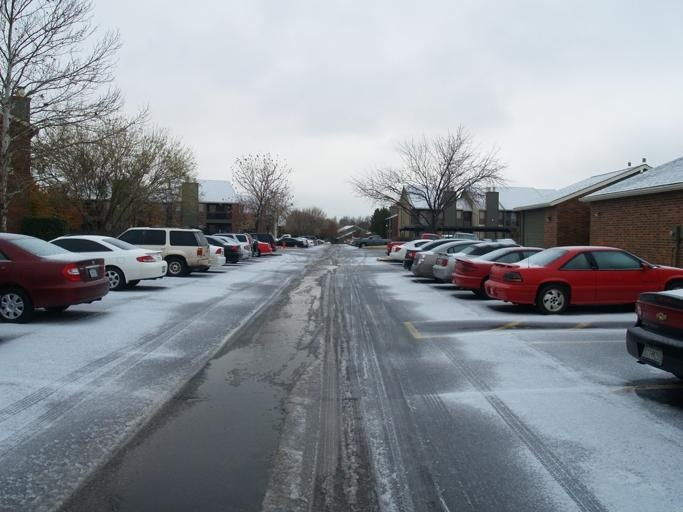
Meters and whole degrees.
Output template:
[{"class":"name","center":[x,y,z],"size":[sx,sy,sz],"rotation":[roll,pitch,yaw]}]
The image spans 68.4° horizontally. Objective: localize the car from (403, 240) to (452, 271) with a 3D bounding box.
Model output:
[{"class":"car","center":[4.120,-0.149,23.727],"size":[2.687,0.745,1.118],"rotation":[-2,3,-11]}]

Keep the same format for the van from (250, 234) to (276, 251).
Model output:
[{"class":"van","center":[-6.840,-1.363,43.835],"size":[2.232,0.891,1.128],"rotation":[2,1,-12]}]

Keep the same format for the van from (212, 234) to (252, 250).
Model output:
[{"class":"van","center":[-7.080,-0.951,33.033],"size":[2.549,0.841,1.086],"rotation":[-1,0,10]}]

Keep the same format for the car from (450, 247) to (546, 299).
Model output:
[{"class":"car","center":[4.644,0.341,14.378],"size":[2.926,0.806,1.122],"rotation":[-2,3,-11]}]

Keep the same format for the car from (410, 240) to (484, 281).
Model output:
[{"class":"car","center":[4.093,0.073,19.096],"size":[2.882,0.809,1.111],"rotation":[-3,2,-9]}]

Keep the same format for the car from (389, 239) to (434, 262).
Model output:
[{"class":"car","center":[4.109,-0.365,30.662],"size":[2.676,0.737,1.130],"rotation":[-3,4,-12]}]

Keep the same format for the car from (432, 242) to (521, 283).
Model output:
[{"class":"car","center":[4.827,0.184,16.821],"size":[3.066,0.791,1.302],"rotation":[-4,4,-13]}]

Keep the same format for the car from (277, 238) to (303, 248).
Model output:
[{"class":"car","center":[-7.365,-1.936,71.251],"size":[3.305,1.244,1.655],"rotation":[-6,9,-41]}]

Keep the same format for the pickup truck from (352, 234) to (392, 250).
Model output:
[{"class":"pickup truck","center":[4.041,-2.001,71.318],"size":[6.016,1.559,2.440],"rotation":[-2,5,0]}]
